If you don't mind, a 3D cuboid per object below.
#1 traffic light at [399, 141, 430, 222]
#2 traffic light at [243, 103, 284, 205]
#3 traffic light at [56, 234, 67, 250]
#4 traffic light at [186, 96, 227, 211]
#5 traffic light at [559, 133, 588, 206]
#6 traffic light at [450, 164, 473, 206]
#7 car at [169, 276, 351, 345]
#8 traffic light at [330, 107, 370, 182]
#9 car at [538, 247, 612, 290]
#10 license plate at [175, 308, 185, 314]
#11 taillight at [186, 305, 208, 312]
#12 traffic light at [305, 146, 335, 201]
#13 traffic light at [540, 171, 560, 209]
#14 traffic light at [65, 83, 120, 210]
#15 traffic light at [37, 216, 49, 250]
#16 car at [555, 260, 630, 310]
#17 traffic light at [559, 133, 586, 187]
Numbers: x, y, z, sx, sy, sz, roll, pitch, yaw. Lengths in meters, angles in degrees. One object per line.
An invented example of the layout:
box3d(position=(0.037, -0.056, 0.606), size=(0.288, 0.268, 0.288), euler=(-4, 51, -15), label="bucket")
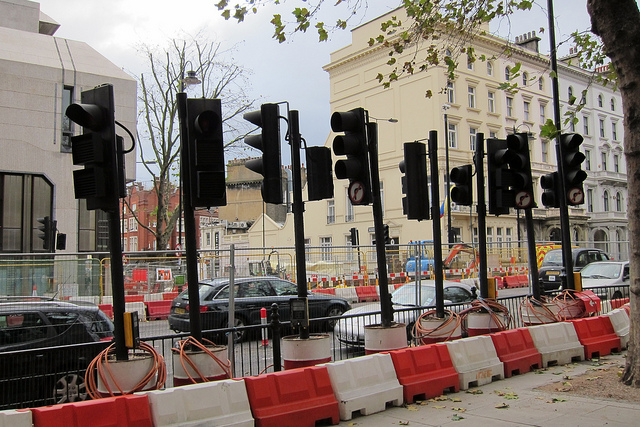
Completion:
box3d(position=(2.025, -0.710, 14.616), size=(0.572, 1.773, 0.671), euler=(-5, -9, 9), label="traffic light")
box3d(position=(-1.117, -1.167, 13.506), size=(0.673, 1.943, 0.548), euler=(-5, -9, 7), label="traffic light")
box3d(position=(-10.252, 1.093, 26.701), size=(0.298, 0.515, 0.629), euler=(1, -10, -27), label="traffic light")
box3d(position=(-2.106, -1.101, 12.618), size=(0.647, 2.046, 0.591), euler=(-3, 3, -15), label="traffic light")
box3d(position=(6.462, -1.220, 17.322), size=(0.604, 1.913, 1.168), euler=(-7, -9, 20), label="traffic light")
box3d(position=(3.300, -0.684, 15.901), size=(0.519, 0.976, 0.453), euler=(-6, -9, 13), label="traffic light")
box3d(position=(-1.744, 2.635, 20.517), size=(5.298, 1.747, 2.252), euler=(0, -5, -33), label="car")
box3d(position=(0.603, -1.484, 14.014), size=(0.742, 1.614, 0.567), euler=(-4, -9, 1), label="traffic light")
box3d(position=(10.516, 2.451, 28.735), size=(3.122, 1.528, 1.712), euler=(-3, -1, -36), label="car")
box3d(position=(-4.161, 2.869, 19.913), size=(0.079, 0.188, 0.508), euler=(3, -11, -38), label="license plate")
box3d(position=(-3.582, 2.750, 19.571), size=(0.542, 0.187, 0.390), euler=(2, -4, -17), label="taillight")
box3d(position=(-0.034, -0.855, 13.965), size=(0.529, 1.114, 0.622), euler=(-4, -9, 0), label="traffic light")
box3d(position=(6.060, -0.588, 17.845), size=(0.477, 0.973, 0.454), euler=(4, -19, 1), label="traffic light")
box3d(position=(-4.100, -1.223, 12.166), size=(0.853, 2.270, 0.573), euler=(-2, -9, -14), label="traffic light")
box3d(position=(-10.615, 0.743, 25.926), size=(0.356, 1.265, 1.503), euler=(0, -9, -21), label="traffic light")
box3d(position=(8.711, 2.174, 21.391), size=(1.934, 1.690, 8.791), euler=(-8, -10, 24), label="car")
box3d(position=(6.451, -1.391, 17.261), size=(0.523, 1.361, 1.000), euler=(-7, -9, 21), label="traffic light")
